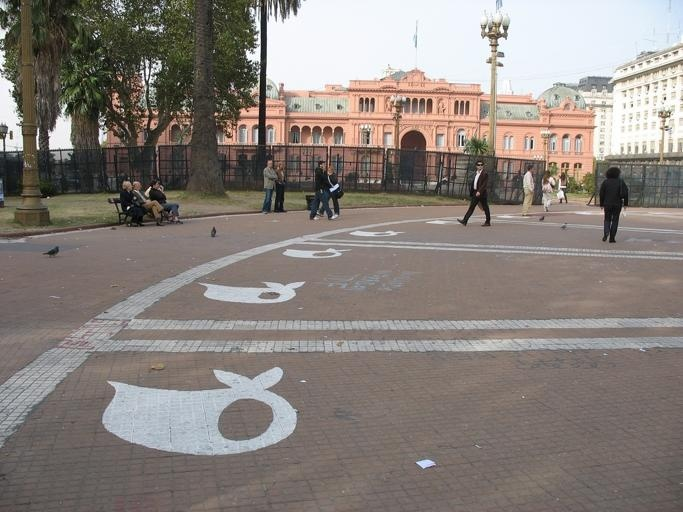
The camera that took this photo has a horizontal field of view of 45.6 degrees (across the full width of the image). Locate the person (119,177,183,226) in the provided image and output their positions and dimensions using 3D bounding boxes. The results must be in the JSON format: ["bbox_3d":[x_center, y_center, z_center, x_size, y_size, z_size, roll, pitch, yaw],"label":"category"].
[{"bbox_3d":[-4.788,-1.334,20.410,1.356,0.934,1.056,7,14,5],"label":"person"}]

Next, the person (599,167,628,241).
[{"bbox_3d":[5.991,-1.107,17.763,0.567,1.692,1.340,4,13,18],"label":"person"}]

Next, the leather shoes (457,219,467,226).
[{"bbox_3d":[3.219,-0.878,21.432,0.189,0.066,0.130,32,-10,11],"label":"leather shoes"}]
